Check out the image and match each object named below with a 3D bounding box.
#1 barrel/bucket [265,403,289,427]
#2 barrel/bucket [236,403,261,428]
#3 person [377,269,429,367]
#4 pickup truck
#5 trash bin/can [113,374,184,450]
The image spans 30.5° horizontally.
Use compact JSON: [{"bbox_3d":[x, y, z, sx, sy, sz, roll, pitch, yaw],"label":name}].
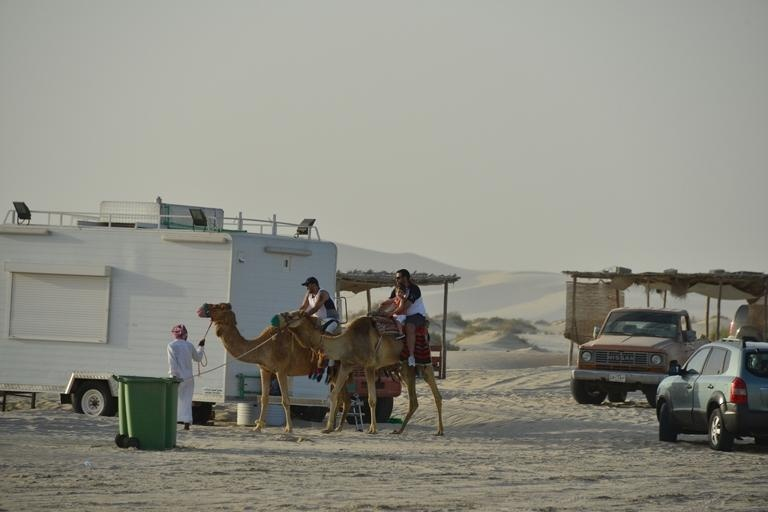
[{"bbox_3d":[-2.200,3.247,29.136,0.462,0.369,0.538,1,0,1],"label":"barrel/bucket"},{"bbox_3d":[-2.839,3.207,28.748,0.509,0.380,0.428,2,-2,-30],"label":"barrel/bucket"},{"bbox_3d":[0.346,1.173,27.430,1.024,1.887,0.840,3,-2,6],"label":"person"},{"bbox_3d":[5.795,2.372,32.914,2.915,1.995,4.640,0,-4,20],"label":"pickup truck"},{"bbox_3d":[-4.195,2.721,24.755,1.059,1.237,1.087,3,-5,-17],"label":"trash bin/can"}]
